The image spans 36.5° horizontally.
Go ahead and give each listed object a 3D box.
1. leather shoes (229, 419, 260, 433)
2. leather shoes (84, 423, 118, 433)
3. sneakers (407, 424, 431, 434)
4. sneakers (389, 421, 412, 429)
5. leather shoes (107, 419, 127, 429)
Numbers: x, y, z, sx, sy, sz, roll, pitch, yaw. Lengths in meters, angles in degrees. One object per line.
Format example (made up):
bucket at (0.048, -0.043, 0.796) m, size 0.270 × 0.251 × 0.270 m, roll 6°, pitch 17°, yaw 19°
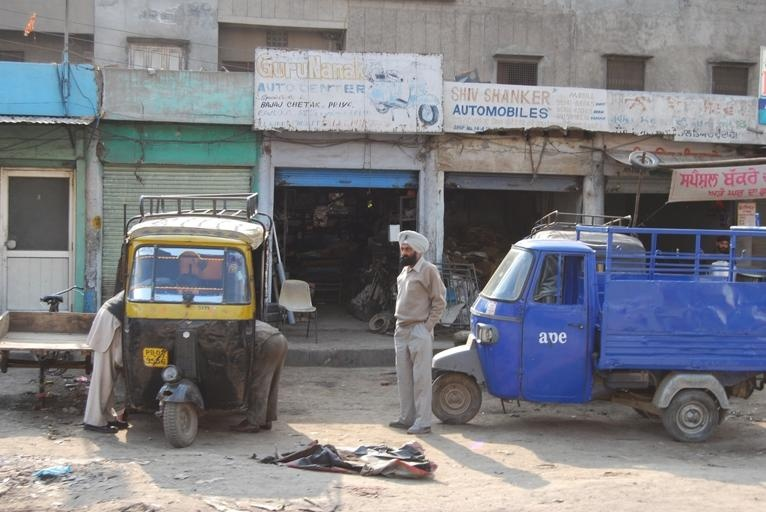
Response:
leather shoes at (-2.284, 2.850, 19.429) m, size 0.611 × 0.237 × 0.204 m, roll 3°, pitch -8°, yaw 13°
leather shoes at (-4.585, 2.836, 19.098) m, size 0.537 × 0.218 × 0.197 m, roll 1°, pitch -3°, yaw -1°
sneakers at (0.597, 2.905, 19.518) m, size 0.401 × 0.166 × 0.145 m, roll 3°, pitch -5°, yaw -3°
sneakers at (0.304, 2.857, 19.788) m, size 0.365 × 0.141 × 0.134 m, roll 5°, pitch -2°, yaw 11°
leather shoes at (-4.360, 2.789, 19.240) m, size 0.319 × 0.130 × 0.116 m, roll 4°, pitch -1°, yaw -26°
